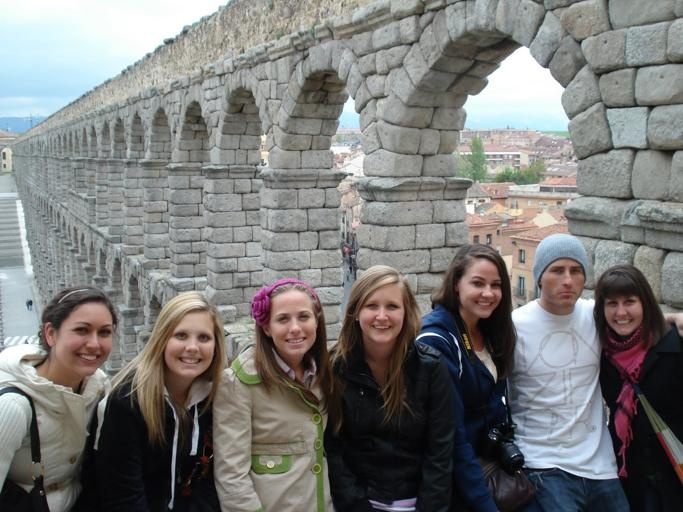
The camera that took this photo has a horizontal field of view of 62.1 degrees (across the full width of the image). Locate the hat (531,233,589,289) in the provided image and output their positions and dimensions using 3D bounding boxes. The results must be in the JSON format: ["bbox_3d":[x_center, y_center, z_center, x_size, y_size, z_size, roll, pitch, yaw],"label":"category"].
[{"bbox_3d":[1.126,0.042,3.015,0.261,0.261,0.285,3,-4,4],"label":"hat"}]
